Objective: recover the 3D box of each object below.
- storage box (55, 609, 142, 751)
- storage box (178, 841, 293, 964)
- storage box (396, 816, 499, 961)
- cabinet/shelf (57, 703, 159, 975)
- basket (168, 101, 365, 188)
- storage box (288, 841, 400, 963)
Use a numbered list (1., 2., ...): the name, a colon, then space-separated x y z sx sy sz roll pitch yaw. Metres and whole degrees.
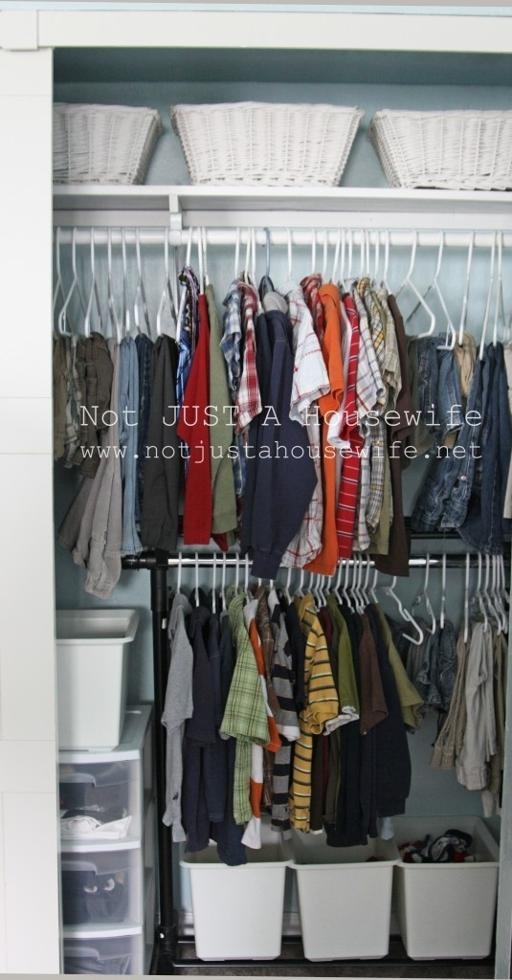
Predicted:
1. storage box: -0.345 0.424 1.931 0.194 0.298 0.326 1 -4 -6
2. storage box: -0.049 0.890 1.972 0.299 0.330 0.227 0 -10 -1
3. storage box: 0.471 0.992 2.048 0.177 0.223 0.302 0 -14 1
4. cabinet/shelf: -0.315 0.811 1.903 0.248 0.574 0.456 -1 -2 2
5. basket: 0.027 -0.773 1.891 0.280 0.153 0.243 -1 8 -7
6. storage box: 0.215 0.994 2.096 0.197 0.280 0.286 -1 -8 5
